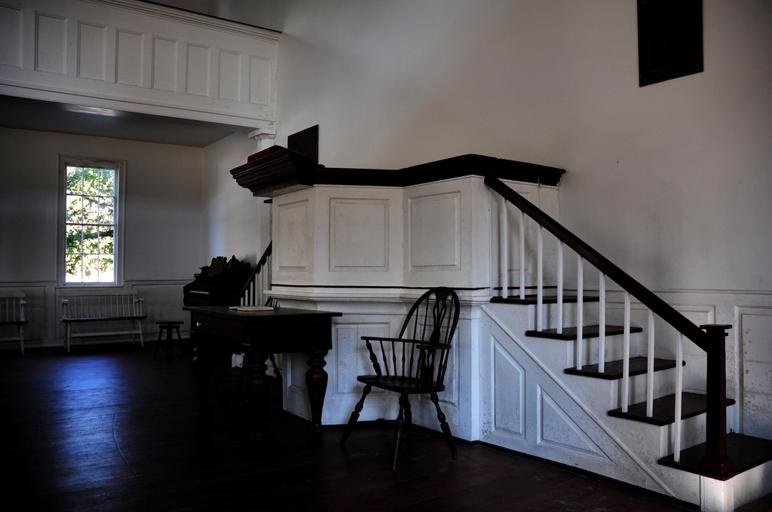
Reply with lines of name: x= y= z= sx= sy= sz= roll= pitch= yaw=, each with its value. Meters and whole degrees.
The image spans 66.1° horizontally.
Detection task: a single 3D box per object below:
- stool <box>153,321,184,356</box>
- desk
stool: x=-4.158 y=1.585 z=11.405 sx=0.632 sy=0.669 sz=0.643 roll=4 pitch=-5 yaw=-25
desk: x=-1.330 y=1.426 z=6.181 sx=1.042 sy=1.324 sz=2.018 roll=2 pitch=-6 yaw=-27
